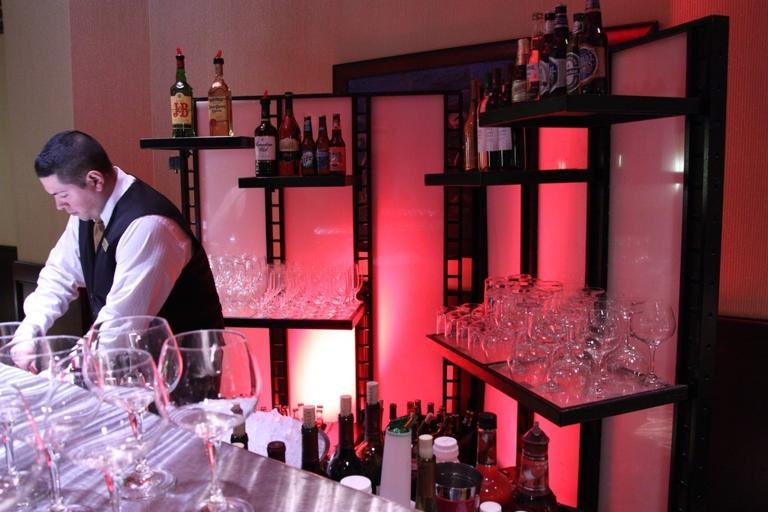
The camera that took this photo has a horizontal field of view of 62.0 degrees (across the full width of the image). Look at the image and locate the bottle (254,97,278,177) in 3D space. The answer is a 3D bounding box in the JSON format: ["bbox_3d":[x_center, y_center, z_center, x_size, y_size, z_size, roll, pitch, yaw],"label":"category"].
[{"bbox_3d":[-0.644,-0.653,3.503,0.127,0.430,0.143,0,5,-11],"label":"bottle"}]

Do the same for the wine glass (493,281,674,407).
[{"bbox_3d":[0.691,0.324,2.547,0.375,0.182,0.532,-2,4,-26],"label":"wine glass"}]

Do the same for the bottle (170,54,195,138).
[{"bbox_3d":[-1.027,-0.827,3.266,0.104,0.438,0.196,-1,5,-19],"label":"bottle"}]

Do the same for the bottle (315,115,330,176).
[{"bbox_3d":[-0.342,-0.619,3.620,0.074,0.323,0.225,0,5,-6],"label":"bottle"}]

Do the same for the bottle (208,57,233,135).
[{"bbox_3d":[-0.854,-0.845,3.332,0.112,0.458,0.223,0,5,-15],"label":"bottle"}]

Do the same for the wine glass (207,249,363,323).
[{"bbox_3d":[-0.568,0.195,3.676,0.875,0.359,0.398,1,5,-3],"label":"wine glass"}]

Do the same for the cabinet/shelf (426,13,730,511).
[{"bbox_3d":[0.847,0.135,2.407,0.695,1.976,0.604,5,6,42],"label":"cabinet/shelf"}]

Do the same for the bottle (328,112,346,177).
[{"bbox_3d":[-0.267,-0.643,3.638,0.084,0.371,0.317,0,5,-5],"label":"bottle"}]

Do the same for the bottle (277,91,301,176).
[{"bbox_3d":[-0.522,-0.672,3.558,0.125,0.464,0.283,0,5,-10],"label":"bottle"}]
